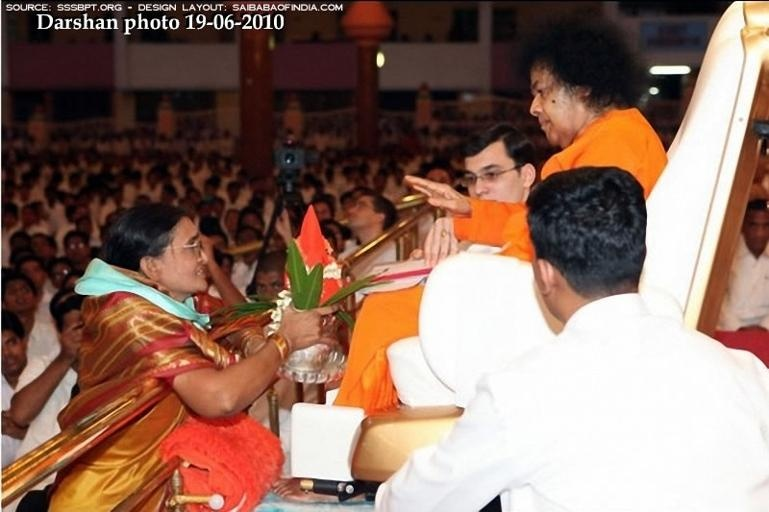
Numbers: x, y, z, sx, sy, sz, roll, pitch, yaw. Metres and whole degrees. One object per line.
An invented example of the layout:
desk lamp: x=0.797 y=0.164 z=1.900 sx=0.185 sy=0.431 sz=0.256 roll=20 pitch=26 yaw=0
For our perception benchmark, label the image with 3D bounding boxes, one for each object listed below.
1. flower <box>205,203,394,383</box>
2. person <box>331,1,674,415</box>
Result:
flower: x=-0.213 y=0.130 z=3.167 sx=0.654 sy=0.703 sz=0.745 roll=4 pitch=3 yaw=36
person: x=0.465 y=-0.103 z=2.940 sx=1.232 sy=1.507 sz=0.719 roll=0 pitch=-7 yaw=13
